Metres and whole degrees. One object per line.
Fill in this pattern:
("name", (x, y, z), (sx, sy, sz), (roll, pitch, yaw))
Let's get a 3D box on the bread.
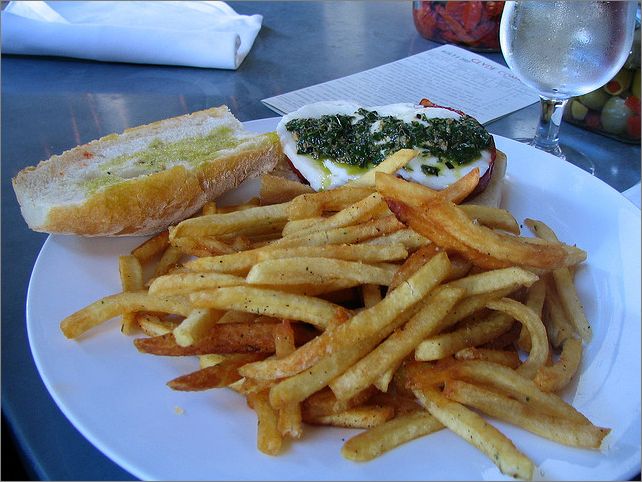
("bread", (-0.734, -0.301, 2.518), (1.121, 0.261, 0.581), (-27, 44, -35))
